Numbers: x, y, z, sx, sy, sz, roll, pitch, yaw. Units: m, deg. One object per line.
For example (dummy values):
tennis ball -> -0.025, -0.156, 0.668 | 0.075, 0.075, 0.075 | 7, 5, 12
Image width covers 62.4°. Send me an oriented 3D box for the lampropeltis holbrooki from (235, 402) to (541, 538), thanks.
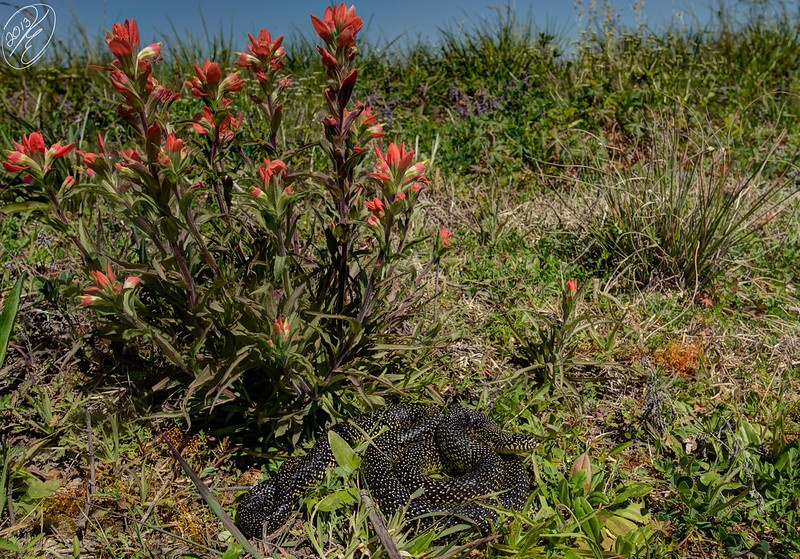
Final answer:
lampropeltis holbrooki -> -0.033, 1.426, 4.996 | 1.540, 0.304, 1.069 | -3, 21, -9
